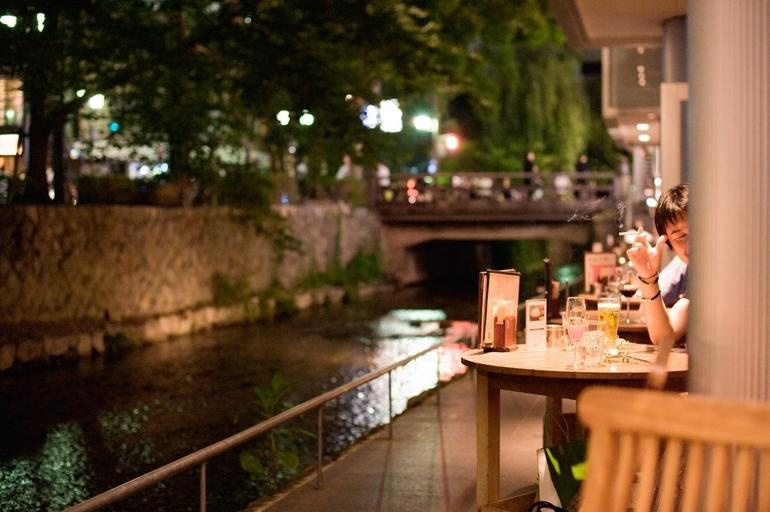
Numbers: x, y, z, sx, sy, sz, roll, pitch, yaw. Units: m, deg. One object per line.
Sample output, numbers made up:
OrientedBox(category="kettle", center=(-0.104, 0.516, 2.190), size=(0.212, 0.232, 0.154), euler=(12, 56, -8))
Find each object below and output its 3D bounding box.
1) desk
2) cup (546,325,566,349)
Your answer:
OrientedBox(category="desk", center=(1.104, 0.715, 4.067), size=(1.037, 0.819, 1.087), euler=(1, 2, 36))
OrientedBox(category="cup", center=(1.087, 0.514, 4.549), size=(0.128, 0.130, 0.125), euler=(1, 0, 0))
